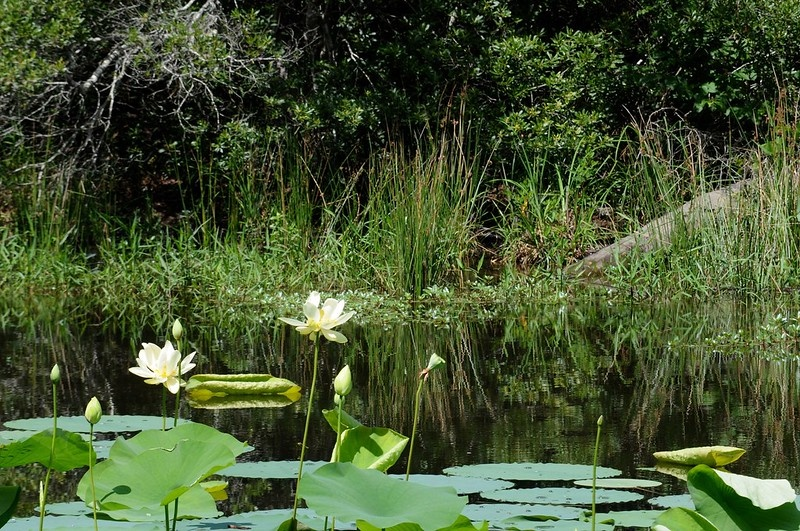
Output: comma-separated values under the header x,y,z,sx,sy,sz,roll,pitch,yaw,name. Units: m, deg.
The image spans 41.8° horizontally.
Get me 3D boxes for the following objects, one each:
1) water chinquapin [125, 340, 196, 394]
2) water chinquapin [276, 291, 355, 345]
x,y,z,sx,sy,sz,roll,pitch,yaw,name
-1.005,0.429,4.530,0.244,0.225,0.319,1,-1,-7,water chinquapin
-0.337,0.204,4.411,0.285,0.151,0.251,-11,6,-32,water chinquapin
